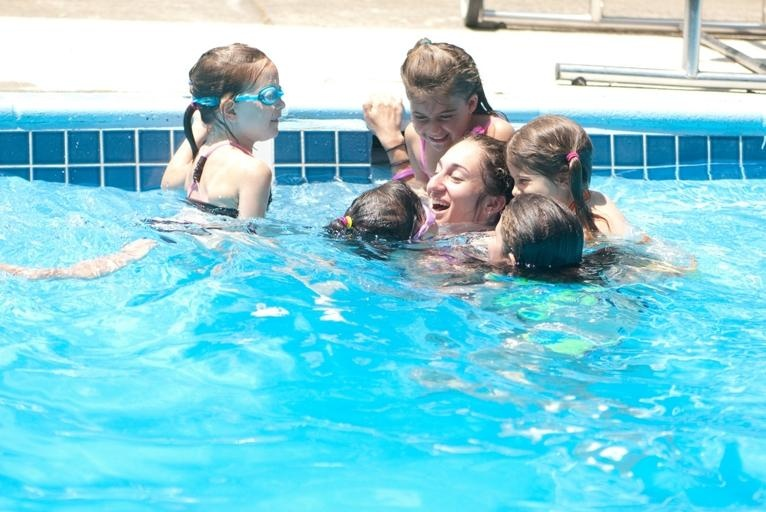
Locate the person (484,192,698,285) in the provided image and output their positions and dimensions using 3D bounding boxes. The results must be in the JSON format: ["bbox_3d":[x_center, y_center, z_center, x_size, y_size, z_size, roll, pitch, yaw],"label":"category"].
[{"bbox_3d":[0.849,-0.062,2.654,0.874,0.249,0.545,11,14,23],"label":"person"}]

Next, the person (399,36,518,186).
[{"bbox_3d":[0.391,-0.789,3.409,0.580,0.645,0.559,2,1,4],"label":"person"}]

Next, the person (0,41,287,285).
[{"bbox_3d":[-0.885,-0.503,3.034,0.662,0.878,0.766,3,1,8],"label":"person"}]

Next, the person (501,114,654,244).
[{"bbox_3d":[0.878,-0.329,3.124,0.751,0.608,0.487,-10,21,-18],"label":"person"}]

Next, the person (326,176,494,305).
[{"bbox_3d":[0.129,-0.118,2.848,0.785,0.382,0.380,3,1,41],"label":"person"}]
